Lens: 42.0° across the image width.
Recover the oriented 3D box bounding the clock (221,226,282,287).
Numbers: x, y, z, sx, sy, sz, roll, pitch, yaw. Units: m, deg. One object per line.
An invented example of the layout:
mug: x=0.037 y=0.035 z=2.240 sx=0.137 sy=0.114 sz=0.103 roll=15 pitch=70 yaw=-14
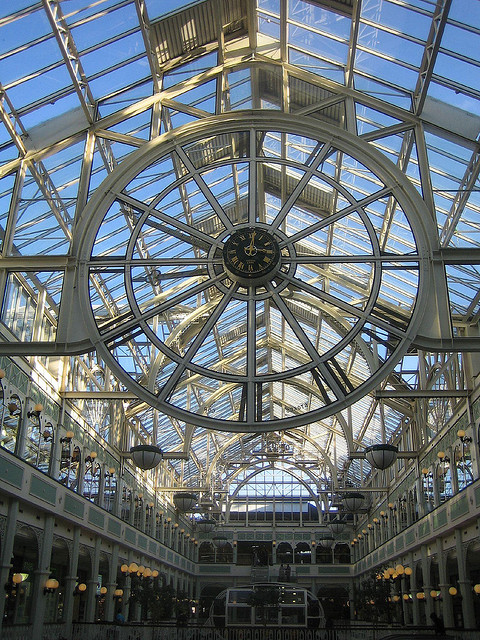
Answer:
clock: x=0.329 y=-1.870 z=17.934 sx=1.557 sy=1.605 sz=0.265 roll=0 pitch=-21 yaw=3
